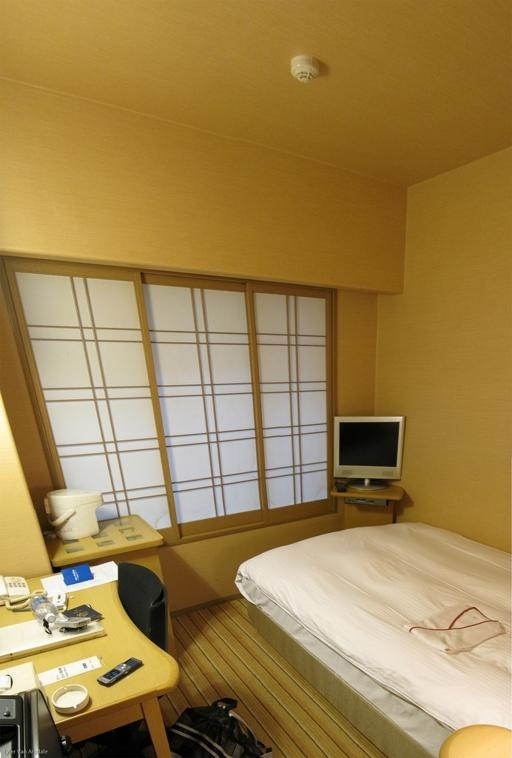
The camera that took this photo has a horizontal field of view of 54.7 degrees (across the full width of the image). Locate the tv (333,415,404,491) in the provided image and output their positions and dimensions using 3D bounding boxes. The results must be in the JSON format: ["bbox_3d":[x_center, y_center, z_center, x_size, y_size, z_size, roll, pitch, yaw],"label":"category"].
[{"bbox_3d":[0.782,0.504,3.447,0.500,0.542,0.187,0,6,12],"label":"tv"}]

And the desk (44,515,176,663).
[{"bbox_3d":[-0.685,0.961,2.507,0.252,0.406,0.411,3,3,-38],"label":"desk"}]

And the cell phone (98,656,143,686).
[{"bbox_3d":[-0.390,0.841,1.421,0.063,0.014,0.130,3,5,43],"label":"cell phone"}]
